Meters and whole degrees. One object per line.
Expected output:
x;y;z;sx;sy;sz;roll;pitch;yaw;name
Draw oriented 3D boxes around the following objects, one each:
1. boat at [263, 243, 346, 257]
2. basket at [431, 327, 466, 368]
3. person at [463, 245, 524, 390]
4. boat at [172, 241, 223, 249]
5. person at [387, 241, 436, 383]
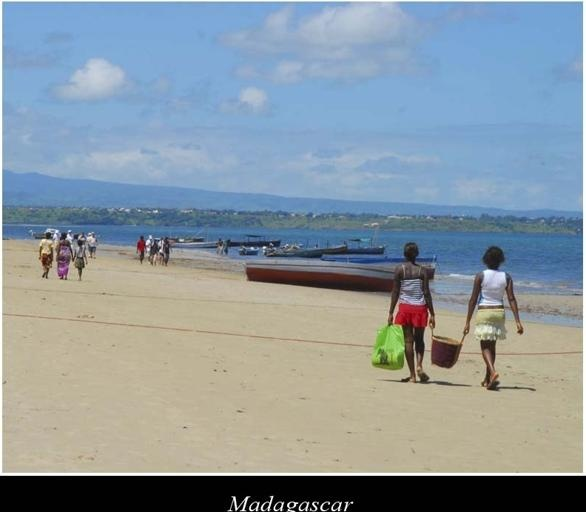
1.015;-0.743;99.138;9.438;1.633;2.619;-5;5;-22;boat
2.371;1.405;13.819;0.554;0.656;0.403;10;4;42;basket
2.915;0.934;13.025;0.792;1.776;0.764;5;2;13;person
-11.627;-1.377;107.268;4.848;0.691;1.100;-3;23;10;boat
1.761;0.868;13.359;0.665;1.674;0.703;5;2;6;person
